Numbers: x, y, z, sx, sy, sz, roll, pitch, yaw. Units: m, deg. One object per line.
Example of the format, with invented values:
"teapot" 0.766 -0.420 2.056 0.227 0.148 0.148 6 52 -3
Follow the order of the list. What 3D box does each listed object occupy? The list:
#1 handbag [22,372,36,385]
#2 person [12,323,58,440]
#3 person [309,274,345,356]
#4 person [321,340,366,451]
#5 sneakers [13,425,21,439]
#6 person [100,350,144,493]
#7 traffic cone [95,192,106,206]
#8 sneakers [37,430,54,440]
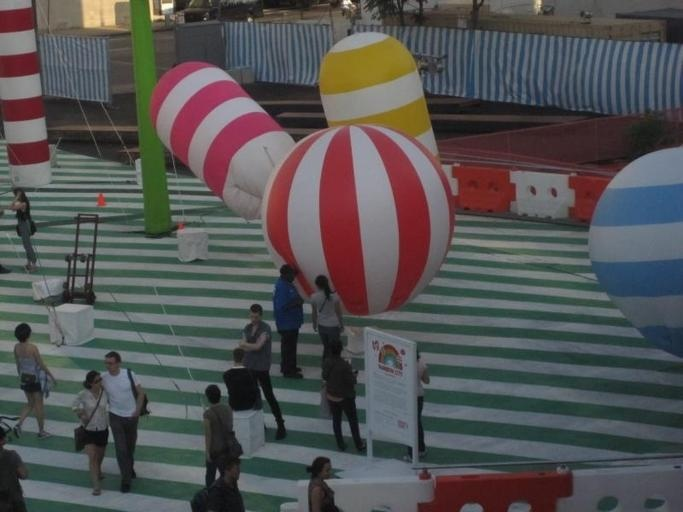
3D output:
"handbag" -4.509 1.772 15.825 0.174 0.115 0.173 7 2 -4
"person" -4.499 1.798 16.082 0.557 1.741 0.942 -3 10 -16
"person" -0.227 0.915 16.682 0.486 1.275 0.529 0 9 -1
"person" 0.039 1.977 15.449 0.555 1.625 0.489 1 9 8
"sneakers" -4.732 2.574 16.079 0.086 0.231 0.092 1 9 0
"person" -2.941 2.265 14.962 0.542 1.918 0.260 -2 9 -13
"traffic cone" -5.646 -1.321 25.867 0.332 0.335 0.316 -1 7 -6
"sneakers" -4.361 2.621 16.177 0.088 0.133 0.223 10 18 35
